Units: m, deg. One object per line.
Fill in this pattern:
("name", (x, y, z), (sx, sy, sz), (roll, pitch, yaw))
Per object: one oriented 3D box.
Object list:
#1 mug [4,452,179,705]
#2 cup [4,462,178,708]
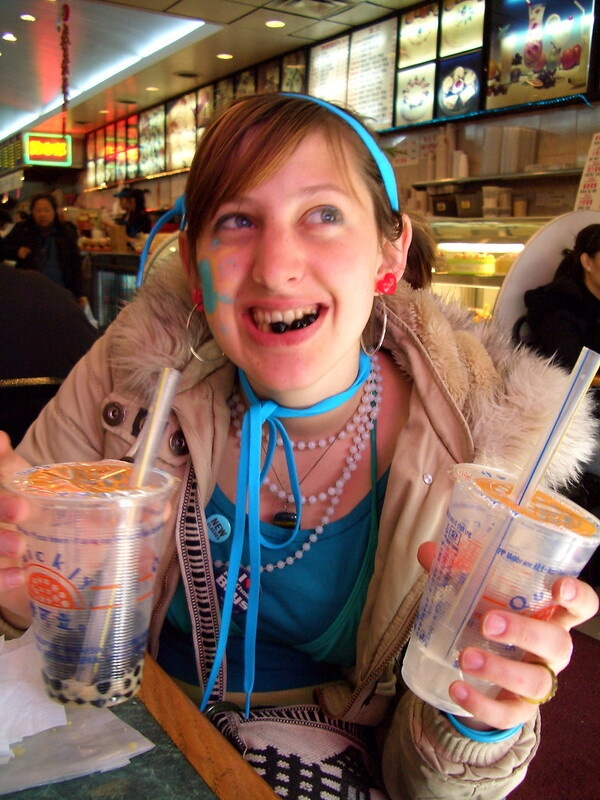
("mug", (-0.200, 0.175, 0.568), (0.137, 0.221, 0.190), (3, 4, -24))
("cup", (-0.192, 0.179, 0.571), (0.164, 0.194, 0.160), (1, 1, 0))
